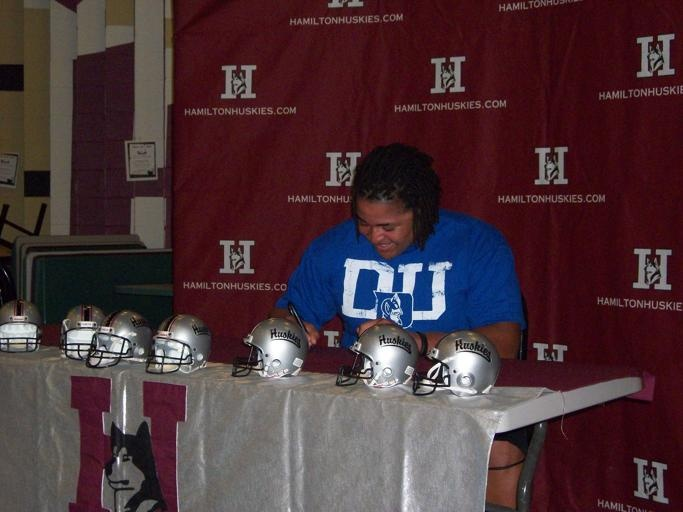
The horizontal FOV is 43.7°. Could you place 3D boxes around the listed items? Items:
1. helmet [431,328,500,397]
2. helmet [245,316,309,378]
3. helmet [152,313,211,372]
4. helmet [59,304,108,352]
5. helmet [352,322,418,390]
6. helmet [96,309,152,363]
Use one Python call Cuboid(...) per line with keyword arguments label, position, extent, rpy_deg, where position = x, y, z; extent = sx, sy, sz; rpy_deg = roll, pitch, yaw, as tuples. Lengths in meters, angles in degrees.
Cuboid(label="helmet", position=(0.412, 0.358, 2.907), extent=(0.270, 0.254, 0.230), rpy_deg=(0, 2, -19))
Cuboid(label="helmet", position=(-0.233, 0.339, 3.049), extent=(0.225, 0.227, 0.202), rpy_deg=(4, -12, -23))
Cuboid(label="helmet", position=(-0.587, 0.313, 3.095), extent=(0.233, 0.216, 0.194), rpy_deg=(2, 1, -41))
Cuboid(label="helmet", position=(-0.977, 0.273, 3.246), extent=(0.139, 0.199, 0.202), rpy_deg=(4, 12, -18))
Cuboid(label="helmet", position=(0.145, 0.310, 2.953), extent=(0.232, 0.243, 0.222), rpy_deg=(8, 23, 12))
Cuboid(label="helmet", position=(-0.814, 0.294, 3.160), extent=(0.162, 0.207, 0.242), rpy_deg=(5, 6, 21))
